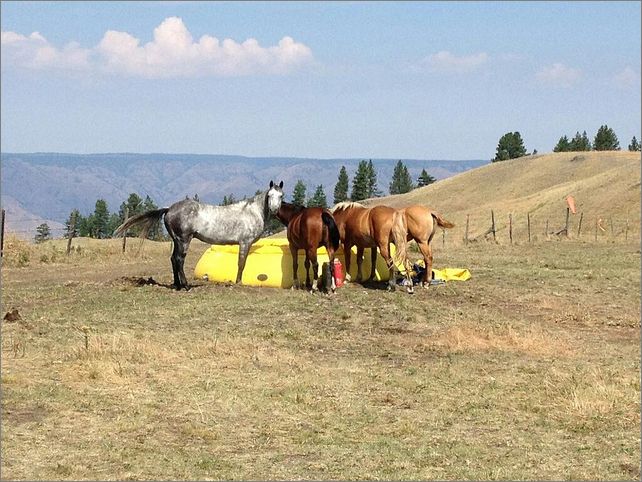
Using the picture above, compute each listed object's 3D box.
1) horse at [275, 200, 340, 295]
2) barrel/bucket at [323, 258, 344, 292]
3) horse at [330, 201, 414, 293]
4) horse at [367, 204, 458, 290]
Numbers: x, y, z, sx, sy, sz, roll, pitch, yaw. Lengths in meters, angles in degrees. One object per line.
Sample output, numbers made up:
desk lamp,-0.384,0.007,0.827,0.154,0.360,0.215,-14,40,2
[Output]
horse,-0.645,0.138,32.427,0.985,3.072,3.761,-1,1,-33
barrel/bucket,0.400,1.093,32.111,0.492,0.950,0.560,0,9,27
horse,1.405,0.077,33.004,1.110,3.192,4.446,-1,0,-37
horse,2.592,0.012,33.205,3.775,3.028,0.973,3,5,32
